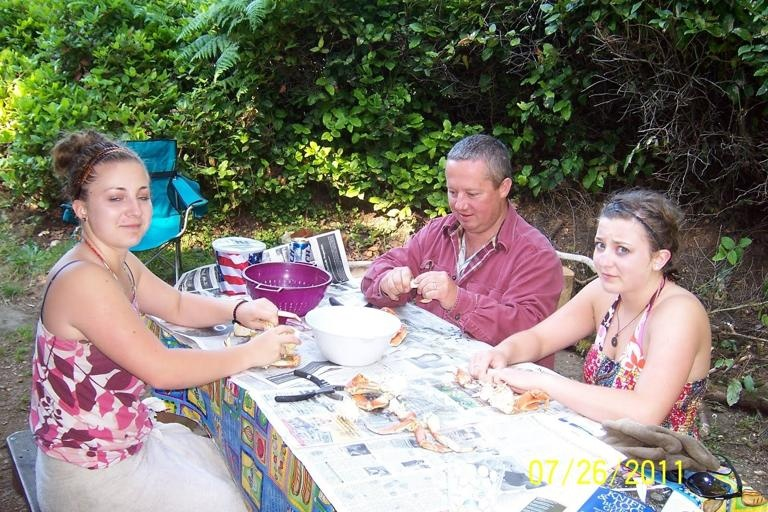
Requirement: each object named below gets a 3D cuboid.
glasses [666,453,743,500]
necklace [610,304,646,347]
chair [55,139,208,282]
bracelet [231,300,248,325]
[{"bbox_3d":[1.123,0.753,1.979,0.148,0.045,0.132,-5,18,-5],"label":"glasses"},{"bbox_3d":[1.131,0.343,2.693,0.168,0.045,0.174,-41,18,-29],"label":"necklace"},{"bbox_3d":[-2.260,-0.287,5.603,1.194,1.354,0.953,-1,31,-1],"label":"chair"},{"bbox_3d":[-0.687,0.281,2.847,0.028,0.099,0.101,20,16,9],"label":"bracelet"}]
